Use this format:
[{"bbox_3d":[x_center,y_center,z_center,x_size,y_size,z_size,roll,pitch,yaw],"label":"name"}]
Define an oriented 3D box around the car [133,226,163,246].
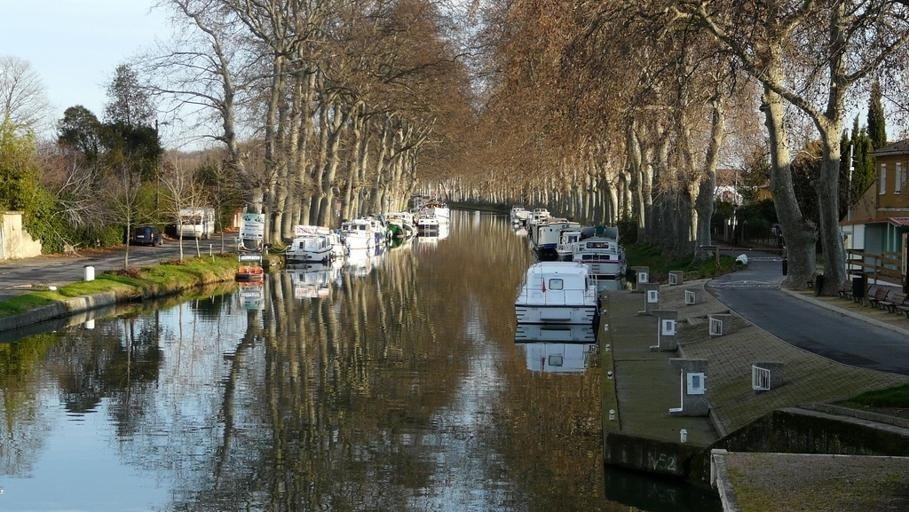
[{"bbox_3d":[-26.087,-1.661,79.302,1.208,1.162,2.310,0,6,3],"label":"car"}]
